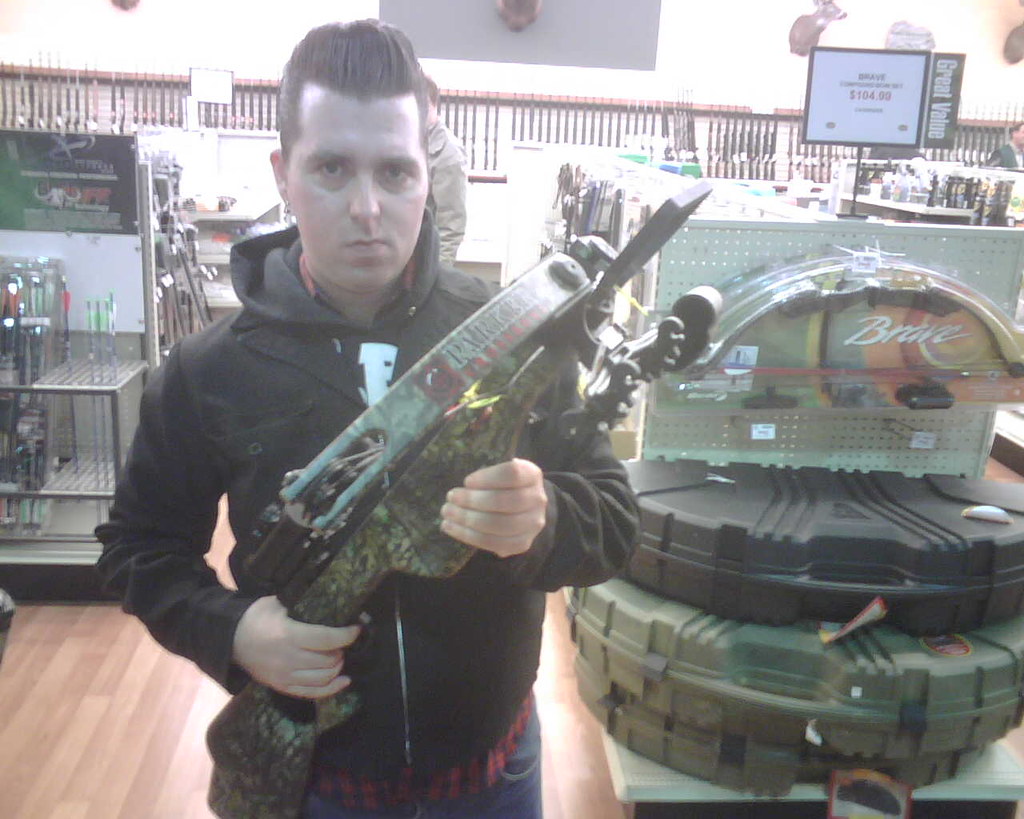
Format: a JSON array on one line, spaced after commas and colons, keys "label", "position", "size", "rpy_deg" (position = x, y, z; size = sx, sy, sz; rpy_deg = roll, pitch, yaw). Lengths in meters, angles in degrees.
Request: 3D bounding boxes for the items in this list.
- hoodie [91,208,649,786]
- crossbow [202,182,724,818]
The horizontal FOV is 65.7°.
[{"label": "hoodie", "position": [-0.173, 0.186, 1.524], "size": [0.990, 1.020, 0.753], "rpy_deg": [-8, 17, -17]}, {"label": "crossbow", "position": [-0.120, 0.207, 1.085], "size": [0.717, 1.005, 0.287], "rpy_deg": [6, 13, 17]}]
